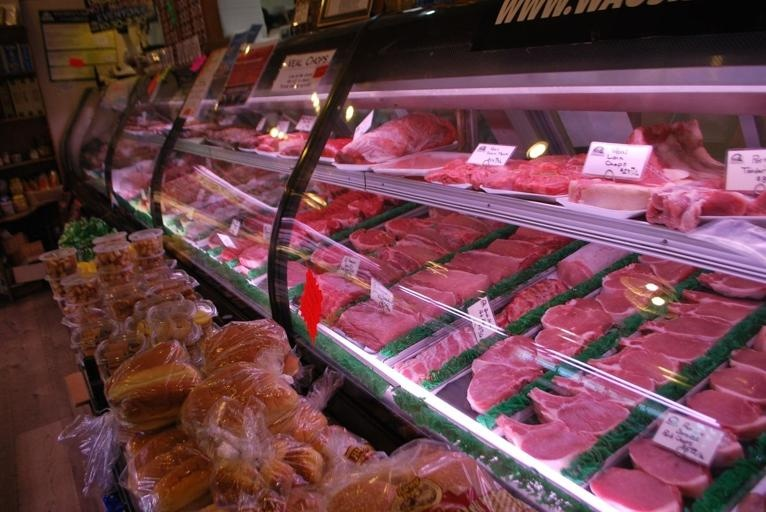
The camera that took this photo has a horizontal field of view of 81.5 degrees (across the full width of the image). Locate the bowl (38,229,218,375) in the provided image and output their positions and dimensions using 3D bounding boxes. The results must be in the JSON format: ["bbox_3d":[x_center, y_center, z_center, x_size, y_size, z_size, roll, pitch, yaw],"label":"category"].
[{"bbox_3d":[-1.339,0.323,2.444,0.731,0.442,1.158,-29,34,-18],"label":"bowl"}]
